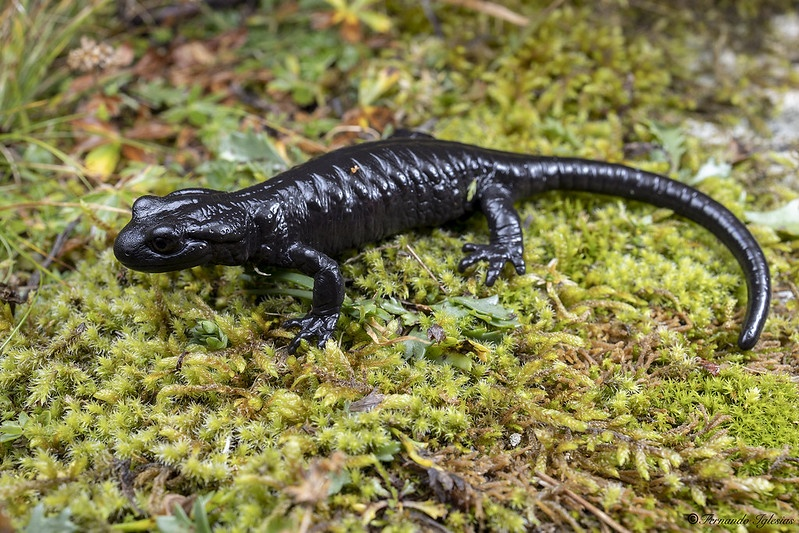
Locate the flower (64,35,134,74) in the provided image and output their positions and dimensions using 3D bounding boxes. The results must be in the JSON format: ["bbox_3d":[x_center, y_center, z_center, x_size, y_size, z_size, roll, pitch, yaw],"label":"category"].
[{"bbox_3d":[-2.595,-1.851,6.021,0.218,0.402,0.173,54,127,27],"label":"flower"}]
